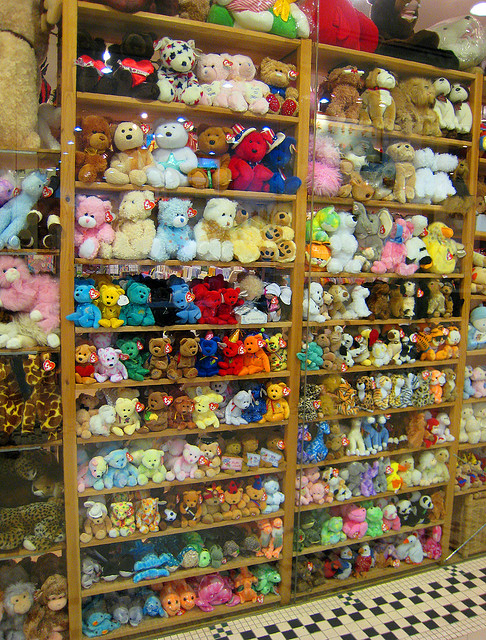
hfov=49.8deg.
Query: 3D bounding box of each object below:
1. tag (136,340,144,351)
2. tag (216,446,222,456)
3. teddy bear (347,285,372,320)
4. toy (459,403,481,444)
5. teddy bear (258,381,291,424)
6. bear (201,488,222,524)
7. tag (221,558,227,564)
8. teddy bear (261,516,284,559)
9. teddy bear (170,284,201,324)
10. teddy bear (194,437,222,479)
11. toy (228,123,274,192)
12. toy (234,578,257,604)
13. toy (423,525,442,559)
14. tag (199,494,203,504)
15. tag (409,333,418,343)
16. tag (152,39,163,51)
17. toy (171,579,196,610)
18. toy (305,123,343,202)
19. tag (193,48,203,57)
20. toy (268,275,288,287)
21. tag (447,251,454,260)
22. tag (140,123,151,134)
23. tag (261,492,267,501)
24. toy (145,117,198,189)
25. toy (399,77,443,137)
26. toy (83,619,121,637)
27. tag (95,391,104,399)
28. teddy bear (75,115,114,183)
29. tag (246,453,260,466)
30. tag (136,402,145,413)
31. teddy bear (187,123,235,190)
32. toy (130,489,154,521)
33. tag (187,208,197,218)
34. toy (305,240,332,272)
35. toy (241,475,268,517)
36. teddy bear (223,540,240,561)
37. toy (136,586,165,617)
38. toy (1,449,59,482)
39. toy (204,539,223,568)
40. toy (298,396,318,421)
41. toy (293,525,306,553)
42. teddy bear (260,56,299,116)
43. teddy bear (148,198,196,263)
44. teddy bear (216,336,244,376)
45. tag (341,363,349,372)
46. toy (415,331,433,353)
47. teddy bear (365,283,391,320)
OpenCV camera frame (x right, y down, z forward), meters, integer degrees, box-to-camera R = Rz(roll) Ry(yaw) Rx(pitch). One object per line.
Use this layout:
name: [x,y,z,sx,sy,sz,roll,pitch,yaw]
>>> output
tag: [-0.378,0.094,1.929,0.008,0.027,0.032,-1,-4,44]
tag: [-0.098,0.523,2.094,0.009,0.029,0.023,-1,10,24]
teddy bear: [0.512,-0.067,2.286,0.136,0.181,0.126,-1,3,25]
toy: [1.152,0.526,2.666,0.135,0.209,0.038,1,6,-28]
teddy bear: [0.120,0.335,2.182,0.153,0.168,0.105,-4,12,-8]
bear: [-0.126,0.742,2.101,0.081,0.132,0.032,0,6,-33]
tag: [-0.074,0.975,2.129,0.019,0.017,0.006,3,-8,-22]
teddy bear: [0.128,0.917,2.220,0.090,0.169,0.035,-1,7,-42]
teddy bear: [-0.216,-0.058,1.957,0.112,0.146,0.051,1,6,-24]
teddy bear: [-0.145,0.546,2.089,0.110,0.151,0.107,-2,3,22]
toy: [0.030,-0.628,2.079,0.179,0.254,0.148,0,25,-21]
toy: [0.016,1.116,2.156,0.102,0.125,0.094,2,-4,-5]
toy: [0.936,1.085,2.598,0.066,0.151,0.091,1,-4,43]
tag: [-0.166,0.714,2.078,0.009,0.022,0.017,2,-8,-17]
tag: [0.793,0.082,2.436,0.043,0.039,0.009,6,-9,-30]
tag: [-0.312,-0.994,1.898,0.037,0.035,0.010,0,1,-19]
toy: [-0.237,1.067,2.078,0.058,0.056,0.135,14,16,-28]
toy: [0.331,-0.641,2.181,0.152,0.254,0.238,-3,-35,9]
tag: [-0.171,-1.015,1.992,0.011,0.022,0.032,11,6,27]
toy: [0.142,-0.162,2.137,0.090,0.036,0.029,2,1,-30]
tag: [0.987,-0.308,2.507,0.044,0.039,0.005,-1,7,-37]
tag: [-0.349,-0.688,1.895,0.035,0.032,0.008,-4,-2,-26]
tag: [0.088,0.735,2.190,0.008,0.029,0.023,4,6,27]
toy: [-0.270,-0.624,1.948,0.194,0.237,0.206,10,28,10]
toy: [0.804,-0.988,2.400,0.196,0.273,0.186,-5,20,-13]
toy: [-0.524,1.146,1.951,0.102,0.033,0.063,-10,7,-21]
tag: [-0.520,0.270,1.907,0.027,0.023,0.006,17,-1,-11]
teddy bear: [-0.507,-0.585,1.803,0.136,0.234,0.067,1,6,-24]
tag: [0.039,0.572,2.161,0.061,0.050,0.033,2,4,-32]
tag: [-0.379,0.325,1.937,0.008,0.030,0.032,-3,-9,41]
teddy bear: [-0.123,-0.620,1.999,0.178,0.224,0.158,-4,34,-12]
toy: [-0.384,0.691,1.939,0.071,0.089,0.094,4,-4,-14]
tag: [-0.195,-0.406,1.985,0.005,0.030,0.034,1,-41,45]
toy: [0.312,-0.275,2.258,0.129,0.126,0.129,1,5,-23]
toy: [0.045,0.731,2.186,0.116,0.156,0.090,11,0,-22]
teddy bear: [-0.049,0.929,2.134,0.069,0.080,0.031,17,-6,-15]
toy: [-0.352,1.089,2.029,0.098,0.049,0.115,17,43,-24]
toy: [-0.752,0.508,1.856,0.165,0.110,0.077,-1,12,0]
toy: [-0.110,0.926,2.102,0.072,0.106,0.037,-4,-7,-9]
toy: [0.273,0.378,2.225,0.093,0.093,0.033,-5,5,-30]
toy: [0.242,0.947,2.284,0.077,0.095,0.037,9,-10,-39]
teddy bear: [0.143,-0.930,2.102,0.164,0.211,0.154,6,20,-5]
teddy bear: [-0.272,-0.338,1.971,0.201,0.233,0.171,-7,25,-34]
teddy bear: [-0.052,0.149,2.058,0.119,0.137,0.107,-6,13,-14]
tag: [0.431,0.203,2.247,0.032,0.029,0.007,-5,11,-18]
toy: [0.848,0.102,2.467,0.088,0.081,0.040,8,8,-36]
teddy bear: [0.605,-0.087,2.441,0.160,0.196,0.132,-3,5,5]
